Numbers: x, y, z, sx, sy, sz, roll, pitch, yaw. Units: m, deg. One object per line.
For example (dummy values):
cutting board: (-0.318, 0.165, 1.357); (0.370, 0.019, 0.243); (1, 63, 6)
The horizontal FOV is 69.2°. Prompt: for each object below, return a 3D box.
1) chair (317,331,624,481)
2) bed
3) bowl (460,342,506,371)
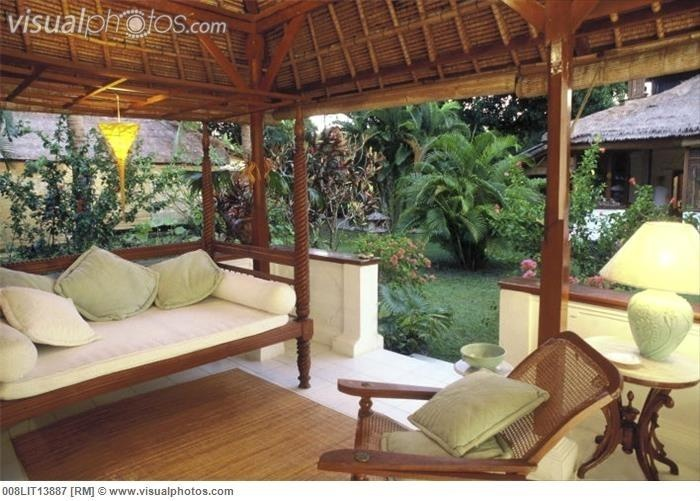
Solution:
chair: (0.660, 0.929, 2.892); (1.544, 0.663, 0.966); (3, 12, 8)
bed: (-2.003, -0.188, 5.117); (2.273, 3.054, 3.518); (5, 11, 44)
bowl: (0.915, 0.660, 3.425); (0.262, 0.086, 0.170); (-5, 9, -43)
